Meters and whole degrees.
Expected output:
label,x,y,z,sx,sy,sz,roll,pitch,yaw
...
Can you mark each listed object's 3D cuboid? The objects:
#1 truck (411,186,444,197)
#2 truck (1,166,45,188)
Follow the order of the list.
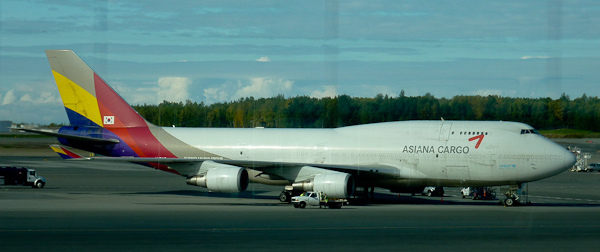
label,x,y,z,sx,sy,sz,roll,pitch,yaw
truck,15.871,8.032,113.432,3.190,0.950,1.348,-1,1,5
truck,-34.582,6.300,114.999,5.084,2.474,0.821,4,-8,-7
